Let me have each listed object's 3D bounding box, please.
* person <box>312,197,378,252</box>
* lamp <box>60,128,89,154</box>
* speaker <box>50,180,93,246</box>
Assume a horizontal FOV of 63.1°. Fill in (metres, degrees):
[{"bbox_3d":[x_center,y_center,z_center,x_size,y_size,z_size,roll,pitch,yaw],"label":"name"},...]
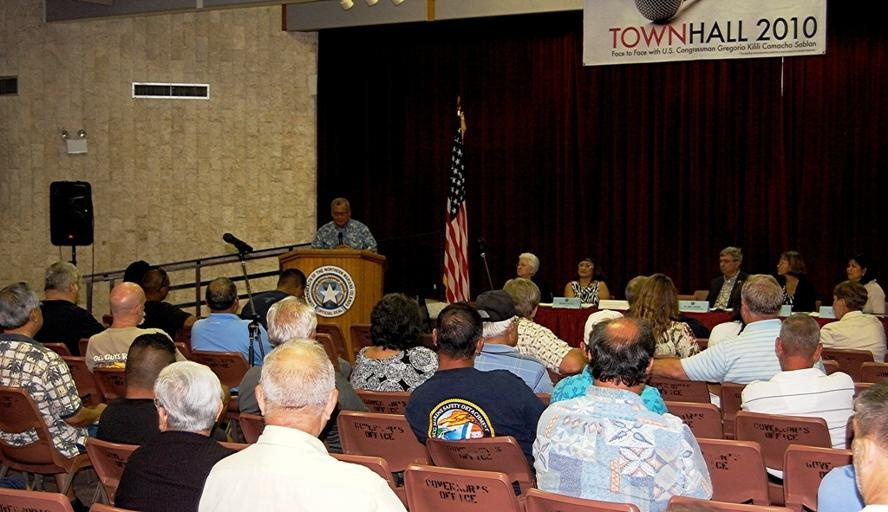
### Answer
[{"bbox_3d":[-1.369,-0.303,9.838,0.911,0.930,0.555,-1,19,0],"label":"person"},{"bbox_3d":[-6.922,-2.138,13.591,0.444,0.454,0.109,1,2,6],"label":"lamp"},{"bbox_3d":[-5.619,-0.501,10.844,0.643,1.137,0.592,0,-22,-34],"label":"speaker"}]
